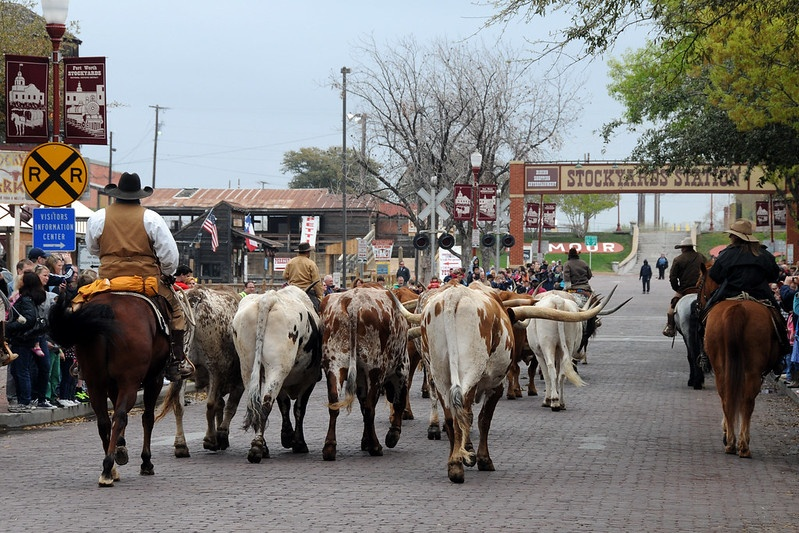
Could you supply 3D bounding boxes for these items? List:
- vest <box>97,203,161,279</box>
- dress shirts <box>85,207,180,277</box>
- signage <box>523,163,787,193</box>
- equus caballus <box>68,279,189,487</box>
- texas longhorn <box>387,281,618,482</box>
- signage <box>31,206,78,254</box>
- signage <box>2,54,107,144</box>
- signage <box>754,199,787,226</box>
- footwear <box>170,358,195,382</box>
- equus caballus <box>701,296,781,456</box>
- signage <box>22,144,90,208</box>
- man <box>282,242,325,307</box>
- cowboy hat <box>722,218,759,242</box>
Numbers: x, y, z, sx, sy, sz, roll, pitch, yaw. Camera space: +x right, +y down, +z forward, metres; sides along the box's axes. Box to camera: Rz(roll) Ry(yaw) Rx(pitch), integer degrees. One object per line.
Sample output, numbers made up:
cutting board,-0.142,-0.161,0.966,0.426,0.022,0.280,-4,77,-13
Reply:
vest,-4.189,-0.387,18.118,1.019,1.225,0.671,-2,2,-17
dress shirts,-4.164,-0.483,18.208,1.340,0.942,0.808,3,20,-7
signage,12.199,-4.603,61.796,11.411,1.705,2.148,-1,2,5
equus caballus,-4.099,1.768,17.614,0.781,2.806,1.389,1,3,40
texas longhorn,1.005,1.724,18.364,1.194,2.867,1.961,0,3,29
signage,-6.921,-0.746,23.799,0.967,0.884,0.095,0,-2,14
signage,-6.886,-3.357,23.736,1.902,1.812,0.668,-2,2,-18
signage,18.947,-2.739,60.322,1.894,1.473,0.629,1,-3,-8
footwear,-3.376,1.612,18.304,0.238,0.274,0.434,2,13,33
equus caballus,5.682,1.799,19.523,1.071,2.492,1.203,-1,2,3
signage,-6.467,-1.713,22.220,1.384,1.233,0.079,2,4,11
man,-1.830,0.359,23.084,0.816,1.584,0.656,0,-2,33
cowboy hat,6.041,-0.643,20.709,0.438,0.224,0.451,12,-7,36
